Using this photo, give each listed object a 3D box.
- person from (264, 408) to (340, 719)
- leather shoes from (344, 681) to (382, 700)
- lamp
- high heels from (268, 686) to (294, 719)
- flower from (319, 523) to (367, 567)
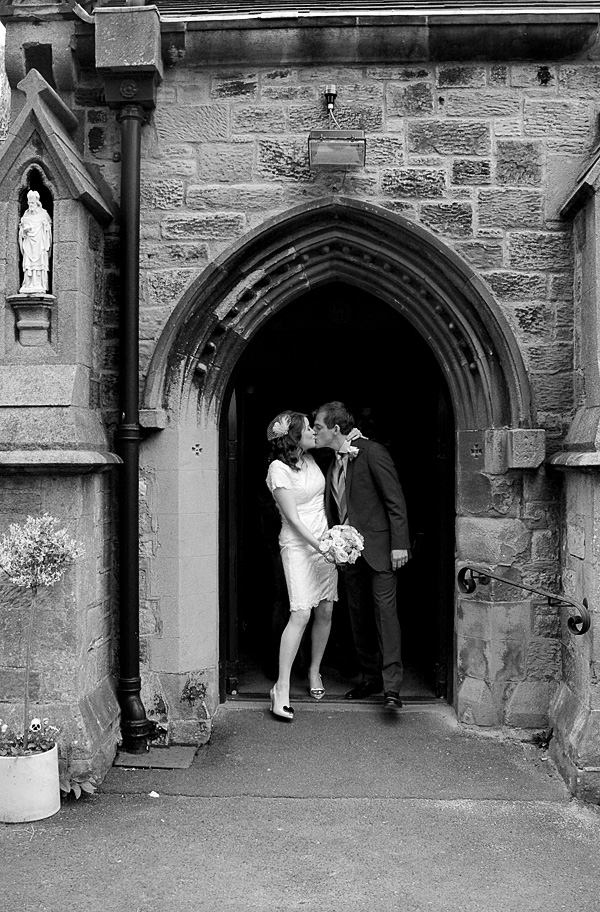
[{"bbox_3d":[0.015,0.541,7.023,0.343,1.513,0.670,0,10,-1],"label":"person"},{"bbox_3d":[0.331,1.223,7.246,0.205,0.097,0.073,3,-3,-22],"label":"leather shoes"},{"bbox_3d":[0.179,-1.550,6.550,0.270,0.390,0.275,1,10,2],"label":"lamp"},{"bbox_3d":[-0.089,1.214,6.923,0.116,0.156,0.241,0,11,-1],"label":"high heels"},{"bbox_3d":[0.191,0.438,6.726,0.187,0.211,0.284,-2,11,-14],"label":"flower"}]
